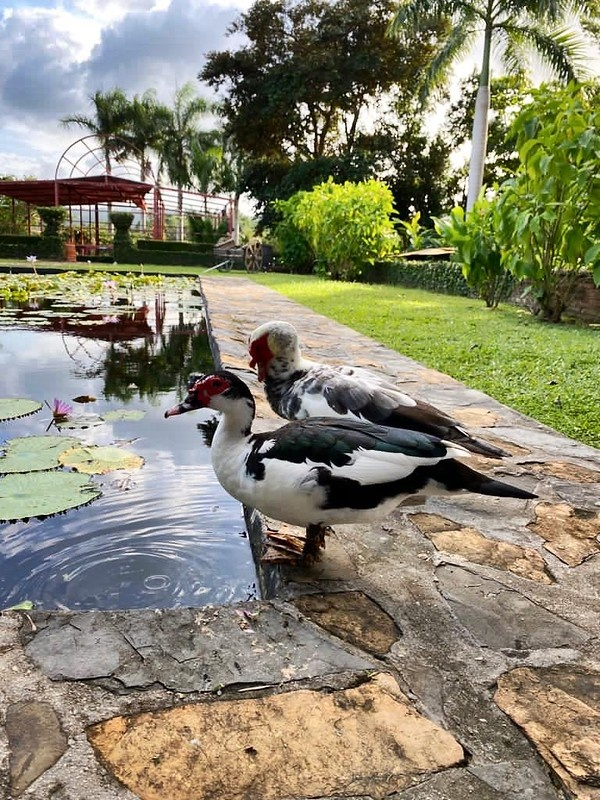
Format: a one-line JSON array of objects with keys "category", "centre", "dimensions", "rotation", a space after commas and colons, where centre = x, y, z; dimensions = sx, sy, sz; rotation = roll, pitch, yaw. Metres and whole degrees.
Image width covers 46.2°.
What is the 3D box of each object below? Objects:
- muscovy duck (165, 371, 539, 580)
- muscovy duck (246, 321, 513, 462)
[{"category": "muscovy duck", "centre": [0.111, 0.160, 1.930], "dimensions": [0.975, 0.460, 0.311], "rotation": [-3, -1, 2]}, {"category": "muscovy duck", "centre": [0.133, -0.045, 2.381], "dimensions": [1.082, 0.504, 0.368], "rotation": [1, 7, 27]}]
